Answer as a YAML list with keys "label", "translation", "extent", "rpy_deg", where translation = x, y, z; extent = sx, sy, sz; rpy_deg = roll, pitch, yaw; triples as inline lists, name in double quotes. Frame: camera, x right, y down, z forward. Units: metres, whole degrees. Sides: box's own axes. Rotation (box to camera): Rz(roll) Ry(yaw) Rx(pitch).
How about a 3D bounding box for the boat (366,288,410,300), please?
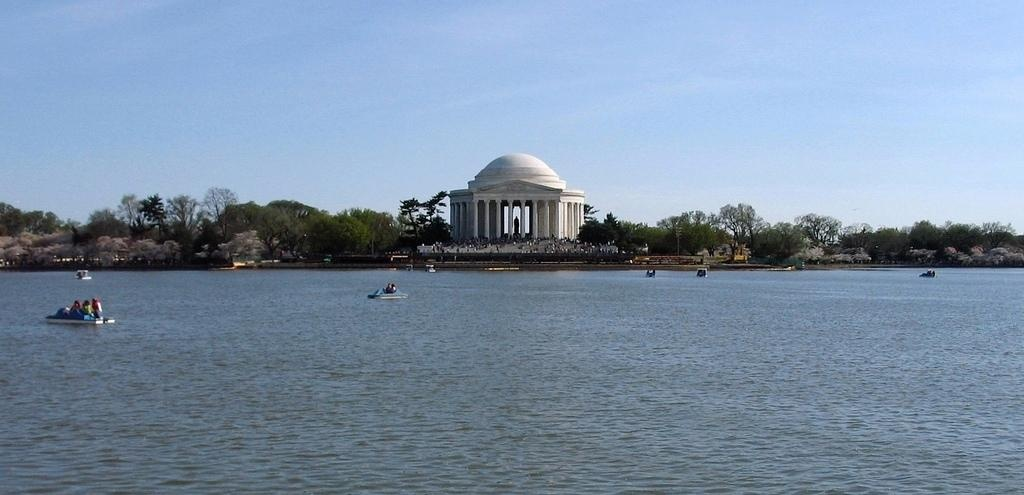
- label: "boat"
  translation: [-12.751, 4.832, 108.686]
  extent: [3.757, 0.821, 5.058]
  rpy_deg: [0, 0, -16]

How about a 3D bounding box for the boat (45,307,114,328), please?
- label: "boat"
  translation: [-35.680, 5.863, 87.221]
  extent: [4.192, 0.881, 2.170]
  rpy_deg: [0, 1, 8]
